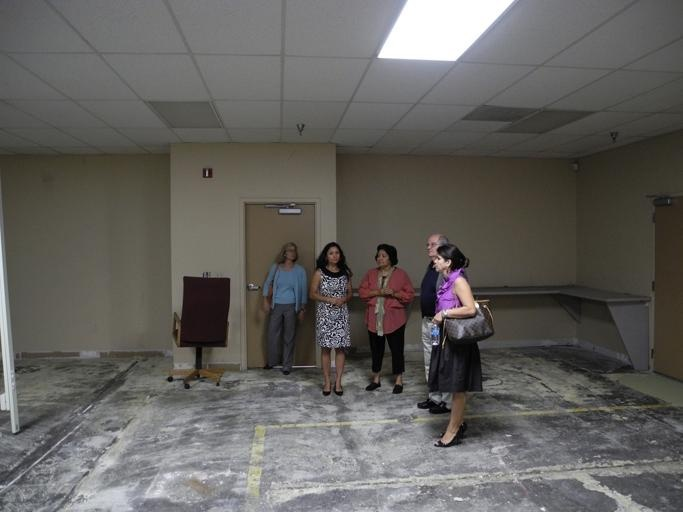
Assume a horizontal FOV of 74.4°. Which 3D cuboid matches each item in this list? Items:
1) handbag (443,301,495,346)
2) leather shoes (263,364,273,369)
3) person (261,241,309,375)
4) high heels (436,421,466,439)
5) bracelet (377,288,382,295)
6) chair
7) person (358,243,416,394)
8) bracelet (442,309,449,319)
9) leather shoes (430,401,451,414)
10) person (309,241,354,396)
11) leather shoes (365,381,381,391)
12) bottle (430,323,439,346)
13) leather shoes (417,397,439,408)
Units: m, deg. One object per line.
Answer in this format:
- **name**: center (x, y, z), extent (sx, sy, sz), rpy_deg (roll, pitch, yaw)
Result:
- **handbag**: center (1.101, 0.582, 3.913), extent (0.404, 0.323, 0.178), rpy_deg (-1, 9, -6)
- **leather shoes**: center (-1.016, 1.525, 6.193), extent (0.164, 0.077, 0.060), rpy_deg (4, 1, 3)
- **person**: center (-0.768, 0.702, 6.081), extent (0.602, 1.733, 0.418), rpy_deg (-2, 9, -10)
- **high heels**: center (1.045, 1.670, 4.258), extent (0.329, 0.150, 0.113), rpy_deg (-8, -1, -37)
- **bracelet**: center (0.433, 0.404, 5.143), extent (0.051, 0.063, 0.041), rpy_deg (2, 9, 15)
- **chair**: center (-1.803, 0.952, 5.822), extent (0.759, 1.336, 0.861), rpy_deg (3, -2, 5)
- **person**: center (0.520, 0.746, 5.287), extent (0.561, 1.756, 0.369), rpy_deg (8, 12, 44)
- **bracelet**: center (0.907, 0.515, 3.956), extent (0.014, 0.061, 0.059), rpy_deg (3, 0, -13)
- **leather shoes**: center (1.100, 1.635, 4.862), extent (0.280, 0.131, 0.104), rpy_deg (2, -1, -5)
- **person**: center (-0.121, 0.744, 5.329), extent (0.451, 1.807, 0.626), rpy_deg (0, 9, 0)
- **leather shoes**: center (0.389, 1.570, 5.466), extent (0.162, 0.068, 0.081), rpy_deg (6, -10, -37)
- **bottle**: center (0.845, 0.704, 4.033), extent (0.060, 0.223, 0.064), rpy_deg (0, 9, 0)
- **leather shoes**: center (0.937, 1.601, 4.958), extent (0.238, 0.109, 0.096), rpy_deg (2, 1, 5)
